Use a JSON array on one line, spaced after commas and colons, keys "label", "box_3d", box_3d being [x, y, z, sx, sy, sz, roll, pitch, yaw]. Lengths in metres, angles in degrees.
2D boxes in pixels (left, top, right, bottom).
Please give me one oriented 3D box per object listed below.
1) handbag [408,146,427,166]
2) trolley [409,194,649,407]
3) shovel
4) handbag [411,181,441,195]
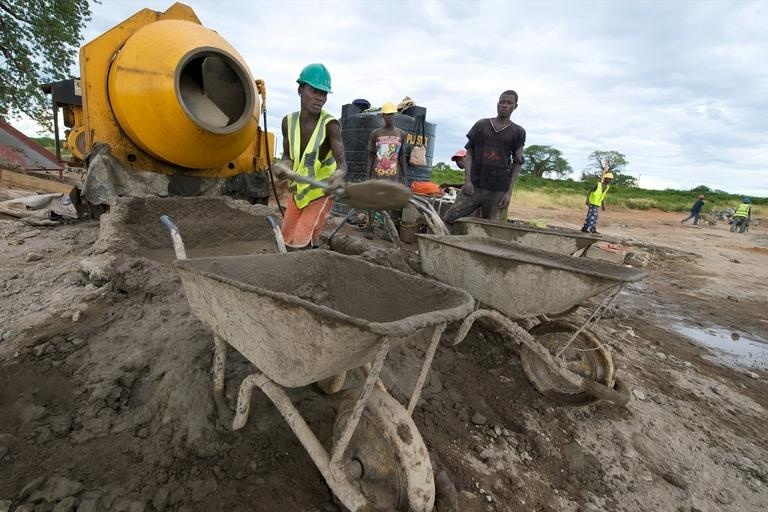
[{"label": "handbag", "box_3d": [0.631, -1.916, 7.452, 0.432, 0.452, 0.206, -2, 3, -32]}, {"label": "trolley", "box_3d": [0.996, 0.266, 4.733, 1.137, 1.674, 3.792, -8, 23, -42]}, {"label": "shovel", "box_3d": [-0.311, -0.552, 3.278, 1.019, 0.187, 0.367, 19, 62, 14]}, {"label": "handbag", "box_3d": [0.777, -1.274, 7.291, 0.475, 0.147, 0.330, 19, 36, 36]}]
